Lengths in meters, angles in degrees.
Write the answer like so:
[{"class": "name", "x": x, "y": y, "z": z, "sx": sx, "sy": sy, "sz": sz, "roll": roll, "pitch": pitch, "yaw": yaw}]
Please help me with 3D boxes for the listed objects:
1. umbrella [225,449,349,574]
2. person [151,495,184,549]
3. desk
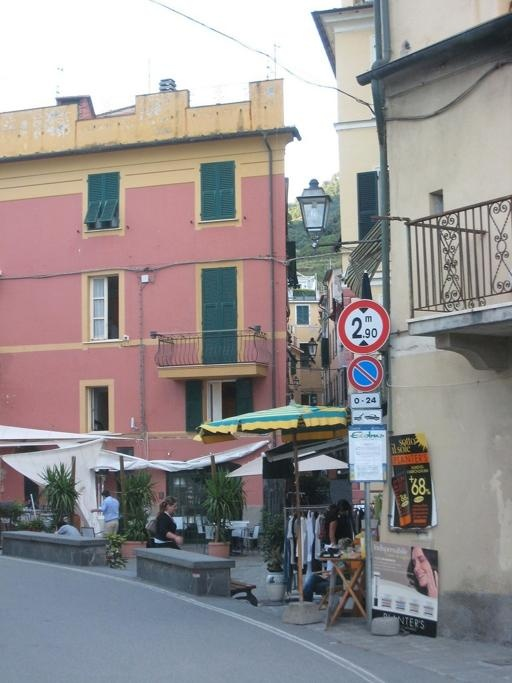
[{"class": "umbrella", "x": 0.507, "y": 2.420, "z": 20.412, "sx": 1.933, "sy": 2.682, "sz": 2.347, "roll": -1, "pitch": -4, "yaw": 0}, {"class": "person", "x": -1.184, "y": 2.406, "z": 17.344, "sx": 0.349, "sy": 0.710, "sz": 0.844, "roll": -2, "pitch": -4, "yaw": -5}, {"class": "desk", "x": 1.037, "y": 2.831, "z": 15.035, "sx": 0.496, "sy": 0.806, "sz": 0.625, "roll": -2, "pitch": -6, "yaw": 8}]
